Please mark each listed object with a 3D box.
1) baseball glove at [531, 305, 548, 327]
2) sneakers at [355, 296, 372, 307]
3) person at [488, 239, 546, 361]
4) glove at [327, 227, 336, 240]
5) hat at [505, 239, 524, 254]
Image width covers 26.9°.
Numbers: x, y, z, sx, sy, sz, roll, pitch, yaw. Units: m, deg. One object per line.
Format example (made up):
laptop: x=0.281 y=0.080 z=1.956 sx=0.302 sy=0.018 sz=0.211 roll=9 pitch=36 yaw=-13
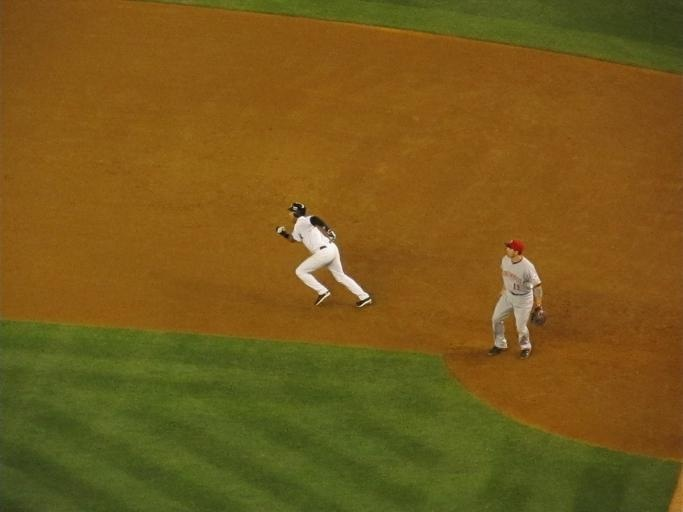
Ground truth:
baseball glove: x=3.942 y=1.199 z=28.443 sx=0.327 sy=0.321 sz=0.153 roll=13 pitch=15 yaw=2
sneakers: x=0.472 y=0.995 z=29.506 sx=0.380 sy=0.173 sz=0.148 roll=-22 pitch=45 yaw=1
person: x=3.512 y=0.846 z=28.421 sx=0.941 sy=2.533 sz=0.633 roll=10 pitch=31 yaw=22
glove: x=-0.181 y=-0.413 z=29.116 sx=0.190 sy=0.277 sz=0.093 roll=36 pitch=71 yaw=20
hat: x=3.345 y=-0.160 z=27.916 sx=0.355 sy=0.212 sz=0.268 roll=19 pitch=35 yaw=19
